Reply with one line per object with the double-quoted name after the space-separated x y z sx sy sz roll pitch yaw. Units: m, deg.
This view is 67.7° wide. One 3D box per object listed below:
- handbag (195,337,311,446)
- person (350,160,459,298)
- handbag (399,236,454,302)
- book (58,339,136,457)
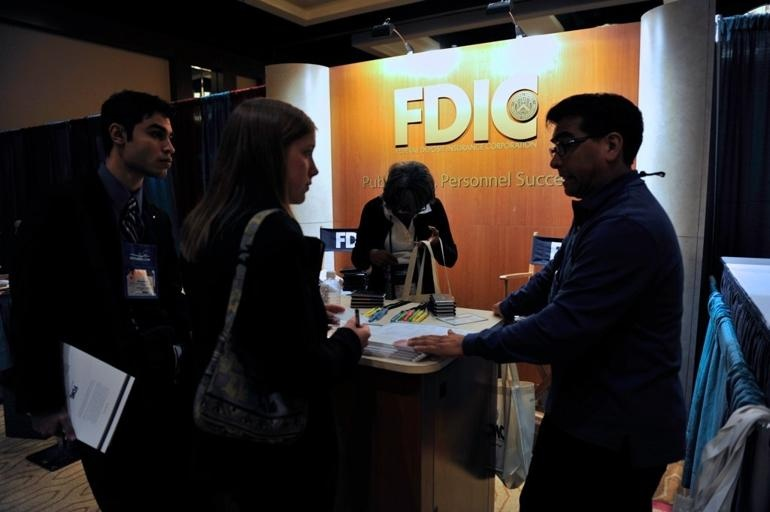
-0.612 0.616 2.600 0.475 0.496 0.317 21 -20 -23 "handbag"
0.123 0.140 4.407 0.693 1.746 0.651 4 24 2 "person"
0.239 0.096 3.762 0.385 0.546 0.388 -1 -6 26 "handbag"
-1.315 0.621 2.707 0.470 0.452 0.107 24 16 21 "book"
